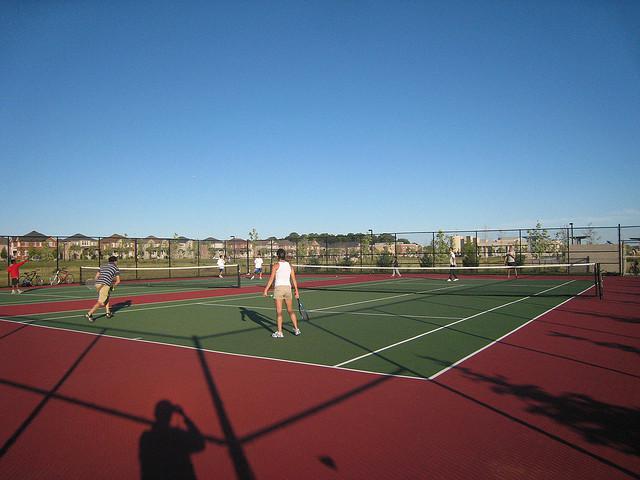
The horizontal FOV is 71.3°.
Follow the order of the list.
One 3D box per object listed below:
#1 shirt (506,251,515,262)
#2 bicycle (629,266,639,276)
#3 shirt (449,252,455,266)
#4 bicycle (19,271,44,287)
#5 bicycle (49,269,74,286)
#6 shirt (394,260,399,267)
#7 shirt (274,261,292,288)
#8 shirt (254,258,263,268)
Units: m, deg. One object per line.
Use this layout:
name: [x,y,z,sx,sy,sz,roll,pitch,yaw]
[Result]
shirt: [11.446,0.986,26.663,0.668,0.647,0.388,2,4,18]
bicycle: [20.563,1.924,29.118,0.509,0.641,2.887,-3,-2,35]
shirt: [7.643,1.060,25.658,0.201,0.661,0.485,-3,-1,10]
bicycle: [-16.690,2.258,25.772,1.455,0.864,0.769,1,3,10]
bicycle: [-15.155,2.261,26.124,0.539,0.639,1.105,-7,-10,24]
shirt: [5.157,1.571,29.554,0.372,0.507,0.279,0,-6,0]
shirt: [-0.818,0.752,10.000,0.391,0.449,0.264,-2,-1,-12]
shirt: [-3.744,1.388,27.114,0.357,0.441,0.919,-2,-2,-8]
